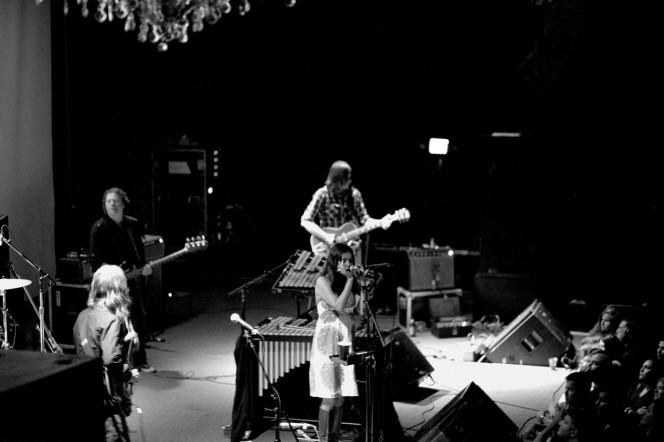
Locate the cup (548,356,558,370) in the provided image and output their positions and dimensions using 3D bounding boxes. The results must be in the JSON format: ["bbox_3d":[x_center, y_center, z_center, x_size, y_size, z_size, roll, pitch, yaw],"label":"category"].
[{"bbox_3d":[3.167,2.037,8.857,0.113,0.199,0.147,-2,8,-20],"label":"cup"}]

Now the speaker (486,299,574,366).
[{"bbox_3d":[2.769,1.775,8.963,0.967,0.742,1.001,-13,2,20],"label":"speaker"}]

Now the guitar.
[{"bbox_3d":[0.251,0.134,9.253,1.702,0.729,0.920,3,2,-40],"label":"guitar"}]

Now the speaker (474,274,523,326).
[{"bbox_3d":[2.912,1.326,10.808,0.790,0.830,0.785,1,1,17],"label":"speaker"}]
